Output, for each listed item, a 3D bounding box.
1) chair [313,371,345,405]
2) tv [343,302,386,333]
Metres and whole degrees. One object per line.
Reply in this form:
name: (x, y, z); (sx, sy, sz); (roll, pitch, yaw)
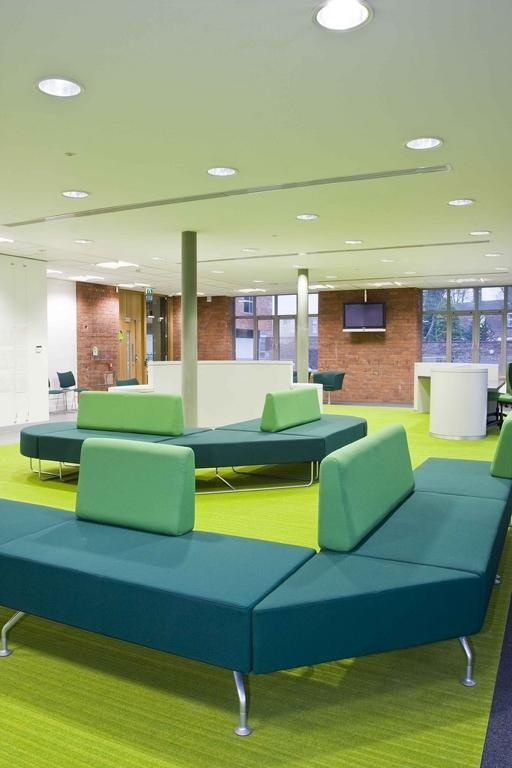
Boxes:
chair: (1.467, 0.027, 12.540); (0.569, 0.645, 0.596); (0, -2, 25)
tv: (2.423, -1.519, 13.581); (0.886, 0.626, 0.233); (0, 4, 11)
